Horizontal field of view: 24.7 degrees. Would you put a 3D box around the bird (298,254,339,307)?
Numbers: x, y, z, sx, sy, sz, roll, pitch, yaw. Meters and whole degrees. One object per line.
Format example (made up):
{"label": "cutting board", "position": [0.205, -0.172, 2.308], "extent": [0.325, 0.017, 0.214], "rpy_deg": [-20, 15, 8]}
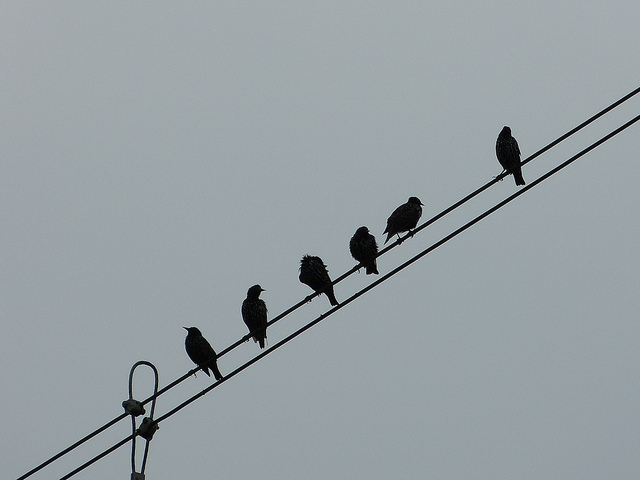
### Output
{"label": "bird", "position": [0.002, 0.351, 14.004], "extent": [0.246, 0.677, 0.404], "rpy_deg": [-16, -68, -22]}

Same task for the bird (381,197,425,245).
{"label": "bird", "position": [0.829, -0.221, 14.369], "extent": [0.451, 0.492, 0.267], "rpy_deg": [0, -23, -18]}

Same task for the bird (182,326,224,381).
{"label": "bird", "position": [-1.147, 1.053, 14.161], "extent": [0.439, 0.219, 0.548], "rpy_deg": [1, -75, 20]}

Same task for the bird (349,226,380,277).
{"label": "bird", "position": [0.440, 0.086, 14.056], "extent": [0.324, 0.727, 0.466], "rpy_deg": [-17, -87, 4]}
